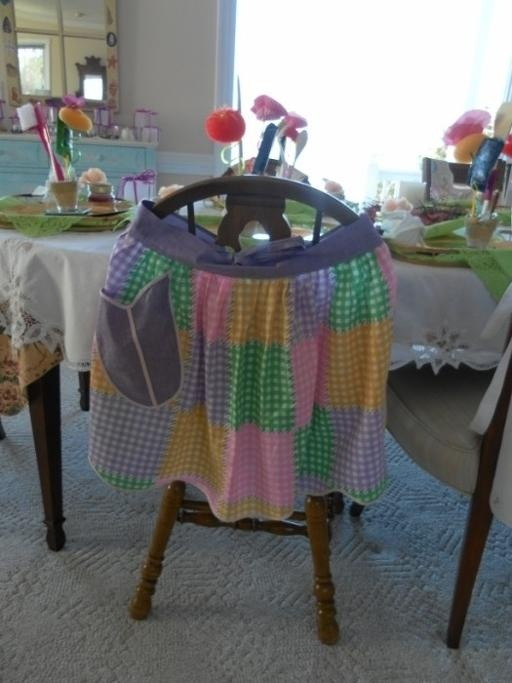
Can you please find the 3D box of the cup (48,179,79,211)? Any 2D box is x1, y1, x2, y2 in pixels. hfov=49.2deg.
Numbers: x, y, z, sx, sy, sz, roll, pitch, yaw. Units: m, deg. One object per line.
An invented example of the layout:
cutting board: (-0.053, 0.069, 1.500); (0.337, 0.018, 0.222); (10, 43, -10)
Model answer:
cup: (-0.413, -0.314, 1.206); (0.072, 0.072, 0.068); (1, 12, 0)

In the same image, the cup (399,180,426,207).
cup: (0.589, -0.546, 2.064); (0.088, 0.074, 0.135); (-2, 26, -13)

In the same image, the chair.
chair: (-0.015, 0.103, 0.901); (0.476, 0.611, 0.266); (2, 15, -1)

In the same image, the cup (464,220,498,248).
cup: (0.438, -0.207, 1.094); (0.057, 0.065, 0.052); (1, 9, 0)
